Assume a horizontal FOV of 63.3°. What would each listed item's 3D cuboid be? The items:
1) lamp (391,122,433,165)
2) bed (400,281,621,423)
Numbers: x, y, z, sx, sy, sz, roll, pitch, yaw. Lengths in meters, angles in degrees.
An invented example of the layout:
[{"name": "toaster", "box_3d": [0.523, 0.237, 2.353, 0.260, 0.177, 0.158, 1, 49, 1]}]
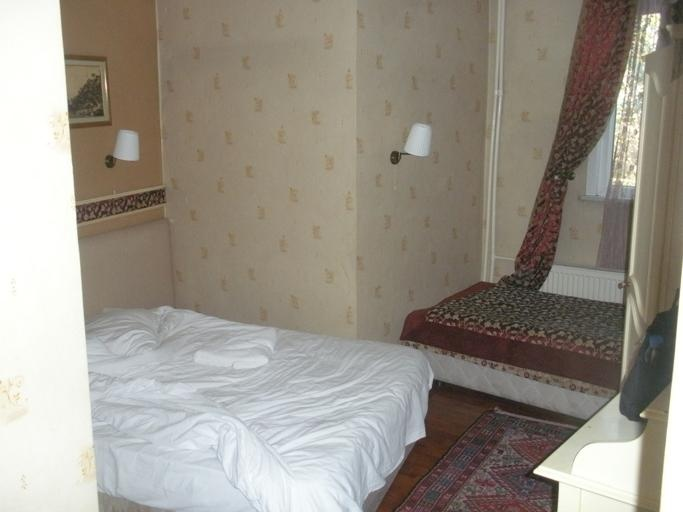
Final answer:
[{"name": "lamp", "box_3d": [0.559, -0.868, 4.400, 0.322, 0.308, 0.228, 7, 15, 26]}, {"name": "bed", "box_3d": [1.430, 0.692, 4.441, 1.114, 0.407, 1.144, 6, 16, 35]}]
